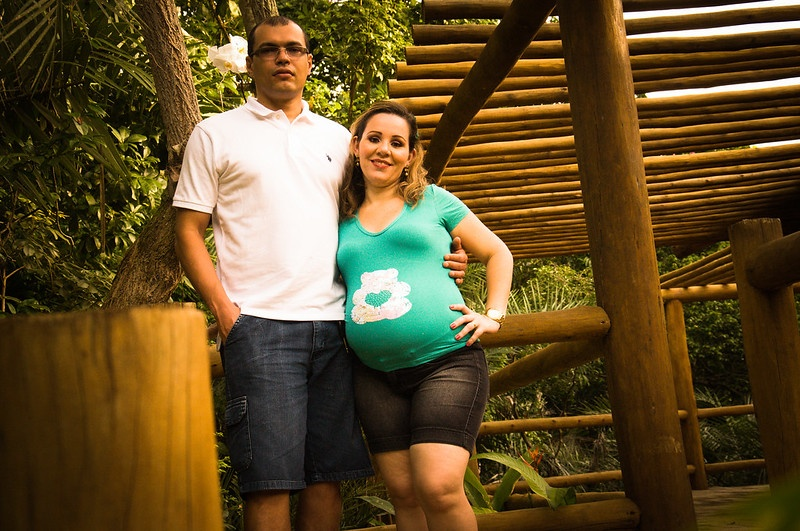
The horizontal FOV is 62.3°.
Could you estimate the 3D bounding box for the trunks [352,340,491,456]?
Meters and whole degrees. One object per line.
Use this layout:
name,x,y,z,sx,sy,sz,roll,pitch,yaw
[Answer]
trunks,0.065,0.565,2.954,0.649,0.584,0.461,-11,-24,18

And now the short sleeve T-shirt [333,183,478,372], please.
short sleeve T-shirt,0.015,0.074,2.885,0.647,0.619,0.340,-22,-19,16

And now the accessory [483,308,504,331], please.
accessory,0.431,0.247,2.957,0.102,0.070,0.098,-3,-44,31
